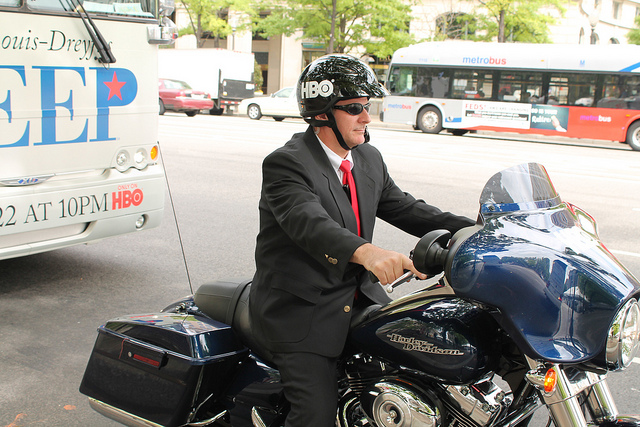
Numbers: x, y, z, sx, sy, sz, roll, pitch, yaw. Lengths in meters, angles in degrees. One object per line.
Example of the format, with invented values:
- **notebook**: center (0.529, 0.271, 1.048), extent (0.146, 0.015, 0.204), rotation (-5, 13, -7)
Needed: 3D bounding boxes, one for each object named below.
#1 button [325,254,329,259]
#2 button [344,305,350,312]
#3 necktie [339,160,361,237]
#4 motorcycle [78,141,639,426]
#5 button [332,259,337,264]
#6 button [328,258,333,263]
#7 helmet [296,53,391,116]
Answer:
- **button**: center (0.032, 0.193, 2.153), extent (0.012, 0.017, 0.005), rotation (-2, -7, 17)
- **button**: center (0.135, 0.480, 2.408), extent (0.027, 0.027, 0.009), rotation (-2, -8, 3)
- **necktie**: center (0.164, -0.115, 2.615), extent (0.076, 0.516, 0.071), rotation (5, -19, -21)
- **motorcycle**: center (0.022, 0.626, 3.157), extent (3.222, 1.827, 1.278), rotation (0, 3, 27)
- **button**: center (0.067, 0.212, 2.127), extent (0.023, 0.023, 0.006), rotation (-1, -3, 8)
- **button**: center (0.048, 0.209, 2.141), extent (0.020, 0.021, 0.005), rotation (0, -9, 5)
- **helmet**: center (0.125, -0.714, 2.632), extent (0.551, 0.319, 0.398), rotation (4, 18, 22)
